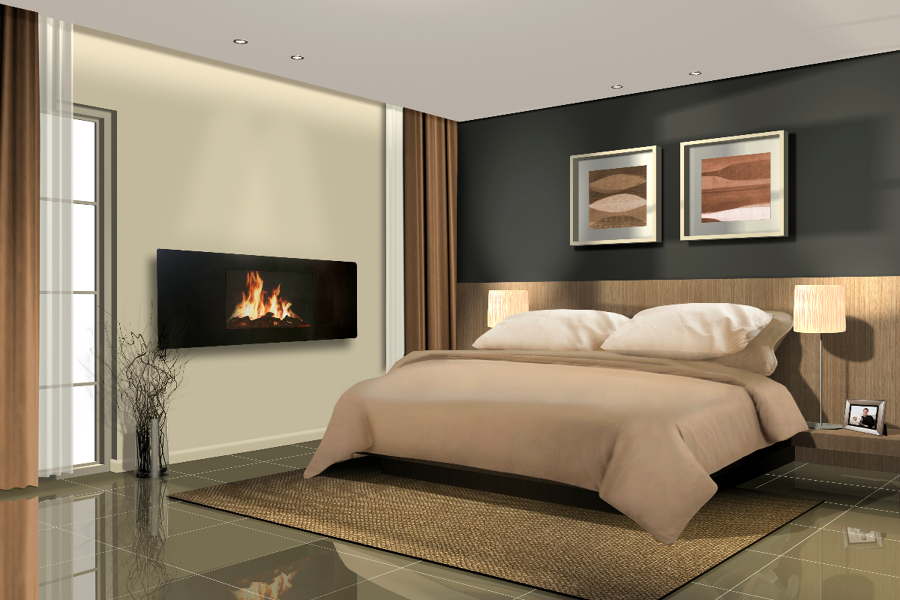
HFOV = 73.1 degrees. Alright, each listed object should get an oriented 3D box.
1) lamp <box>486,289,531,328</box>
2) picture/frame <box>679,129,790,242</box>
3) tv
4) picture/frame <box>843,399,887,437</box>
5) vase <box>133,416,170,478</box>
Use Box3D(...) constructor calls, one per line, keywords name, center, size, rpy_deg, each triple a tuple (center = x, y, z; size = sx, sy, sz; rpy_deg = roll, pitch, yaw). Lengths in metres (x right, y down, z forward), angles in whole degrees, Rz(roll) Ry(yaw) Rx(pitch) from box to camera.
Box3D(name="lamp", center=(0.540, 0.075, 6.054), size=(0.409, 0.321, 0.387), rpy_deg=(-1, 1, -22))
Box3D(name="picture/frame", center=(2.504, -1.001, 5.268), size=(1.091, 1.085, 0.089), rpy_deg=(-3, -5, 40))
Box3D(name="tv", center=(-1.634, 0.000, 5.513), size=(0.051, 0.804, 2.014), rpy_deg=(4, 2, 40))
Box3D(name="picture/frame", center=(2.953, 0.816, 4.320), size=(0.199, 0.219, 0.285), rpy_deg=(0, 1, -11))
Box3D(name="vase", center=(-2.267, 1.096, 4.607), size=(0.206, 0.448, 0.225), rpy_deg=(-1, 2, -26))
